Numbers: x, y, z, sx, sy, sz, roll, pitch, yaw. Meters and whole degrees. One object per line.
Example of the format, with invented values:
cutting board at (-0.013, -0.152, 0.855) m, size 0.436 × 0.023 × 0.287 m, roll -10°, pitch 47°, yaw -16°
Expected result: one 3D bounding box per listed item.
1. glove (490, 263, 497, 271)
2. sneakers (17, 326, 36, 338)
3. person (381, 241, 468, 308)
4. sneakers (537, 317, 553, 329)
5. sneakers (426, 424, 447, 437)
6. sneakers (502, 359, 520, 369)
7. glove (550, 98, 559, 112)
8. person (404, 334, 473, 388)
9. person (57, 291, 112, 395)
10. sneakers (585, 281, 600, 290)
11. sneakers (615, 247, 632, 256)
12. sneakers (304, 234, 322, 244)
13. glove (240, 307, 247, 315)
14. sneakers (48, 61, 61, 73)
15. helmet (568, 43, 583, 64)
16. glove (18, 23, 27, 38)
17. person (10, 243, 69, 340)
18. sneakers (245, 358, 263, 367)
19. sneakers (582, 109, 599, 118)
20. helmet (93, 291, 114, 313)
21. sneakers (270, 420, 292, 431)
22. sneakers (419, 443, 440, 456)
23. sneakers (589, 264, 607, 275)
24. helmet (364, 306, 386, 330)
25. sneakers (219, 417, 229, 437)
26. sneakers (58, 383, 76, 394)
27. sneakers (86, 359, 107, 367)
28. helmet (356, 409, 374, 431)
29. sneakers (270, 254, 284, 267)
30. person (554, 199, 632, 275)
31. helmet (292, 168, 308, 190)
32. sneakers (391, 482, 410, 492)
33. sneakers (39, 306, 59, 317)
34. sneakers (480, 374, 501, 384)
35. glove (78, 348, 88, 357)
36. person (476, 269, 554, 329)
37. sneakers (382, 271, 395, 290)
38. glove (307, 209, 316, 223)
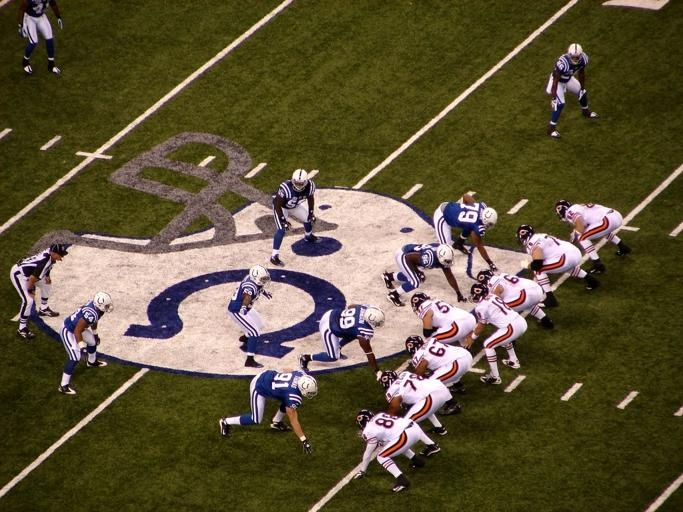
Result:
glove at (3.137, 0.237, 25.097) m, size 0.190 × 0.128 × 0.056 m, roll 26°, pitch 91°, yaw -6°
sneakers at (-6.368, 1.532, 24.481) m, size 0.417 × 0.145 × 0.160 m, roll 14°, pitch 30°, yaw 24°
person at (1.660, 0.347, 24.842) m, size 2.022 × 1.092 × 0.800 m, roll 7°, pitch 11°, yaw 33°
sneakers at (4.033, 1.340, 24.106) m, size 0.333 × 0.293 × 0.160 m, roll -10°, pitch 60°, yaw 24°
sneakers at (1.757, 3.204, 22.161) m, size 0.395 × 0.131 × 0.120 m, roll 1°, pitch 39°, yaw 20°
sneakers at (3.239, 2.076, 23.392) m, size 0.351 × 0.128 × 0.120 m, roll 20°, pitch 53°, yaw 32°
glove at (4.923, -3.540, 28.281) m, size 0.126 × 0.136 × 0.275 m, roll -1°, pitch 65°, yaw 4°
person at (1.611, 1.966, 22.682) m, size 1.296 × 0.581 × 0.791 m, roll 25°, pitch 49°, yaw 17°
person at (-4.970, 1.792, 23.635) m, size 1.151 × 1.679 × 1.239 m, roll 11°, pitch 38°, yaw -18°
sneakers at (5.078, 0.570, 24.814) m, size 0.294 × 0.232 × 0.143 m, roll 1°, pitch 41°, yaw 14°
sneakers at (5.846, -0.060, 25.498) m, size 0.285 × 0.277 × 0.116 m, roll 15°, pitch 57°, yaw -40°
sneakers at (-0.638, -0.381, 26.514) m, size 0.345 × 0.125 × 0.140 m, roll 5°, pitch 47°, yaw 7°
glove at (-1.882, 1.048, 23.377) m, size 0.129 × 0.070 × 0.151 m, roll 16°, pitch 72°, yaw 0°
sneakers at (-7.271, -4.772, 30.783) m, size 0.391 × 0.244 × 0.125 m, roll 31°, pitch 81°, yaw 3°
helmet at (5.300, -4.689, 27.935) m, size 0.464 × 0.400 × 0.513 m, roll 1°, pitch 35°, yaw 9°
glove at (-7.838, -5.514, 29.994) m, size 0.160 × 0.584 × 0.219 m, roll -15°, pitch 78°, yaw -9°
person at (-6.131, 0.815, 24.779) m, size 1.433 × 1.760 × 1.121 m, roll 13°, pitch 39°, yaw -4°
sneakers at (-1.739, 2.078, 23.636) m, size 0.398 × 0.198 × 0.142 m, roll 0°, pitch 19°, yaw 4°
sneakers at (5.855, -3.369, 28.799) m, size 0.383 × 0.212 × 0.152 m, roll 7°, pitch 68°, yaw 20°
helmet at (-4.525, 0.879, 23.158) m, size 0.486 × 0.332 × 0.286 m, roll 6°, pitch 35°, yaw -3°
sneakers at (-1.140, 3.145, 22.462) m, size 0.443 × 0.176 × 0.124 m, roll 5°, pitch 54°, yaw -2°
sneakers at (1.596, 3.479, 21.841) m, size 0.485 × 0.179 × 0.141 m, roll -8°, pitch 44°, yaw 10°
sneakers at (5.271, 0.280, 25.116) m, size 0.405 × 0.267 × 0.125 m, roll 5°, pitch 66°, yaw 45°
helmet at (0.668, 1.159, 22.830) m, size 0.498 × 0.361 × 0.293 m, roll 19°, pitch 51°, yaw -16°
sneakers at (-2.118, 3.152, 22.387) m, size 0.202 × 0.327 × 0.158 m, roll -4°, pitch 21°, yaw 13°
sneakers at (-5.246, 2.553, 23.332) m, size 0.334 × 0.108 × 0.156 m, roll 10°, pitch 27°, yaw 23°
sneakers at (-4.765, 2.106, 23.837) m, size 0.423 × 0.133 × 0.119 m, roll -2°, pitch 52°, yaw -5°
helmet at (0.390, 2.930, 21.716) m, size 0.369 × 0.404 × 0.353 m, roll -9°, pitch 72°, yaw -2°
sneakers at (-1.396, 0.098, 25.884) m, size 0.412 × 0.223 × 0.122 m, roll 15°, pitch 49°, yaw 14°
person at (5.181, -0.524, 25.529) m, size 1.316 × 1.322 × 1.226 m, roll 13°, pitch 25°, yaw 40°
helmet at (-0.878, -1.651, 25.731) m, size 0.419 × 0.351 × 0.418 m, roll 3°, pitch 47°, yaw -2°
sneakers at (1.061, 4.059, 21.298) m, size 0.368 × 0.134 × 0.095 m, roll -1°, pitch 93°, yaw -18°
sneakers at (-5.984, 1.148, 24.883) m, size 0.505 × 0.166 × 0.149 m, roll 2°, pitch 25°, yaw -1°
sneakers at (2.800, 2.352, 23.086) m, size 0.444 × 0.162 × 0.135 m, roll 8°, pitch 41°, yaw 16°
glove at (-5.000, 1.889, 23.625) m, size 0.142 × 0.165 × 0.144 m, roll 1°, pitch 85°, yaw -14°
person at (3.373, 0.814, 23.897) m, size 1.739 × 0.765 × 0.991 m, roll 24°, pitch 35°, yaw 30°
sneakers at (0.998, 0.494, 25.254) m, size 0.247 × 0.404 × 0.149 m, roll -13°, pitch 20°, yaw 18°
glove at (-0.648, -0.870, 26.249) m, size 0.096 × 0.231 × 0.188 m, roll -38°, pitch 38°, yaw -17°
